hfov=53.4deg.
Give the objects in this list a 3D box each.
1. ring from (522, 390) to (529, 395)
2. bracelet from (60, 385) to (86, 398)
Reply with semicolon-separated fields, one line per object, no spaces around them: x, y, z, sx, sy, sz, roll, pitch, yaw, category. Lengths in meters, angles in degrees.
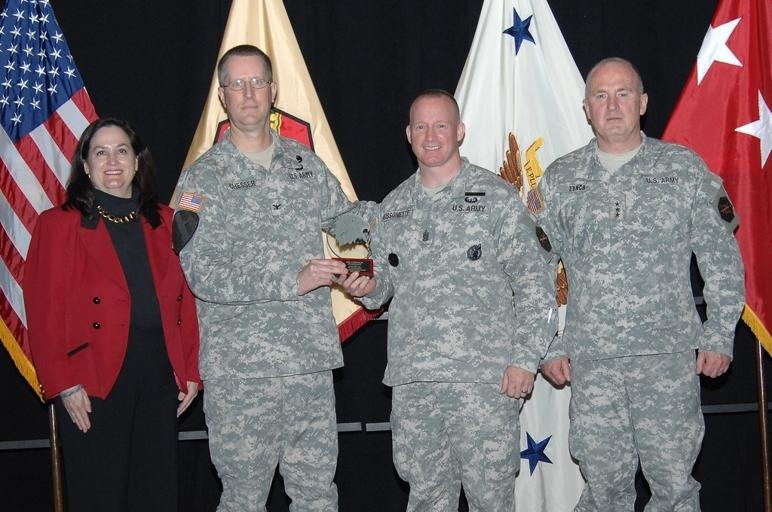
0.738;0.719;4.046;0.027;0.013;0.039;-3;-16;3;ring
-1.625;0.699;3.986;0.109;0.061;0.024;-1;-3;-3;bracelet
